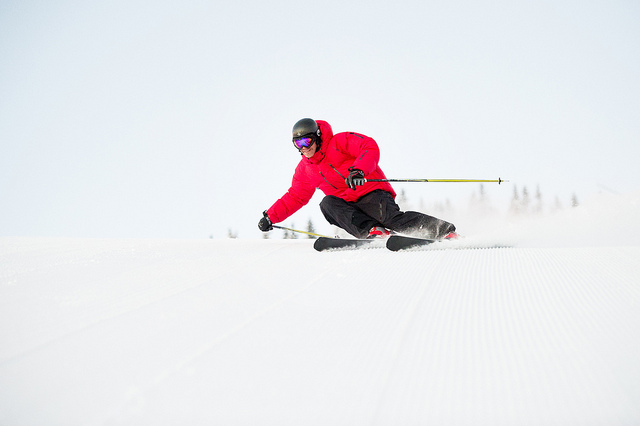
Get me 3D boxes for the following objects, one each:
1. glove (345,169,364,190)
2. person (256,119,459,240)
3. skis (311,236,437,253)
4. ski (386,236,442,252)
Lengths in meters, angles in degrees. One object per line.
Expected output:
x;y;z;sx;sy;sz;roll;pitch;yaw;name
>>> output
0.410;-0.383;5.661;0.159;0.228;0.115;-4;-7;19;glove
0.723;-0.207;6.732;2.703;1.162;1.540;20;-35;-19;person
0.668;0.383;5.772;1.467;0.168;0.166;0;-5;3;skis
1.056;0.323;5.643;0.630;0.162;0.125;-8;-3;-30;ski
